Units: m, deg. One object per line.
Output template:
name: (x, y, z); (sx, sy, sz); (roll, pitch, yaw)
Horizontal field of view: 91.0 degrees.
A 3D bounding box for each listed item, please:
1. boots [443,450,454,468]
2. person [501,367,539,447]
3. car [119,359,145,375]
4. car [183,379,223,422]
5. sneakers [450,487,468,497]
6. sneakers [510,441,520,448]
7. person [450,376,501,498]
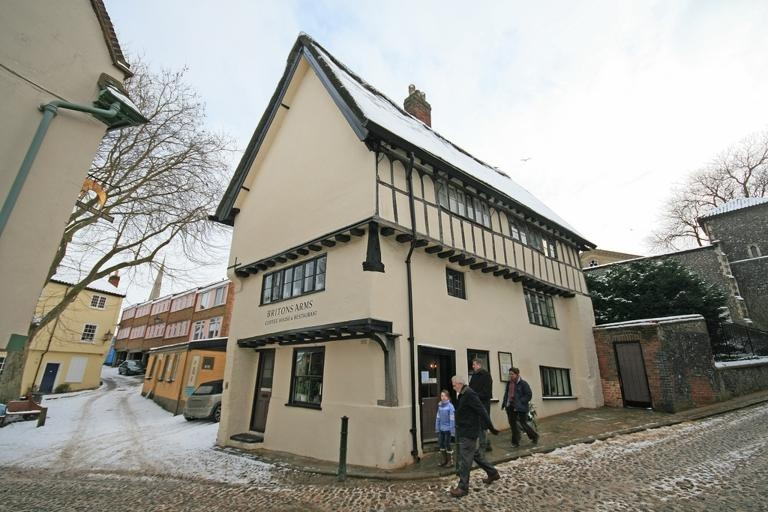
boots: (1.775, 5.570, 10.276); (0.363, 0.391, 0.349); (21, -29, -38)
person: (4.177, 4.582, 11.457); (0.770, 2.245, 0.763); (-5, -7, 14)
car: (-26.812, 11.948, 39.685); (1.534, 1.098, 3.394); (8, -9, -44)
car: (-8.280, 7.080, 18.787); (1.677, 1.384, 2.738); (-3, -10, 19)
sneakers: (1.726, 5.435, 8.637); (0.450, 0.191, 0.174); (12, -28, -15)
sneakers: (3.931, 5.596, 11.143); (0.243, 0.107, 0.366); (-5, -7, 16)
person: (2.013, 4.249, 9.082); (1.550, 2.533, 0.881); (2, -15, -10)
